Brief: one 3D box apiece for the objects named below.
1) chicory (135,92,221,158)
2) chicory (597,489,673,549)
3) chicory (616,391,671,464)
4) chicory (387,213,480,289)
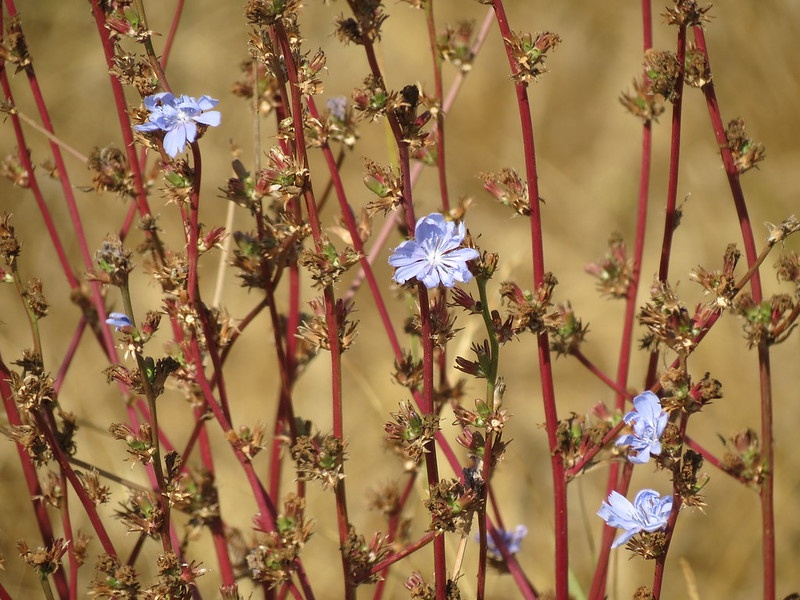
[{"bbox_3d":[-0.493,-0.399,2.757,0.199,0.145,0.080,-13,1,23],"label":"chicory"},{"bbox_3d":[0.521,0.481,2.768,0.195,0.105,0.122,-16,3,-30],"label":"chicory"},{"bbox_3d":[0.539,0.282,2.722,0.138,0.130,0.111,-13,2,-2],"label":"chicory"},{"bbox_3d":[0.074,-0.104,2.684,0.196,0.148,0.088,-13,2,3],"label":"chicory"}]
